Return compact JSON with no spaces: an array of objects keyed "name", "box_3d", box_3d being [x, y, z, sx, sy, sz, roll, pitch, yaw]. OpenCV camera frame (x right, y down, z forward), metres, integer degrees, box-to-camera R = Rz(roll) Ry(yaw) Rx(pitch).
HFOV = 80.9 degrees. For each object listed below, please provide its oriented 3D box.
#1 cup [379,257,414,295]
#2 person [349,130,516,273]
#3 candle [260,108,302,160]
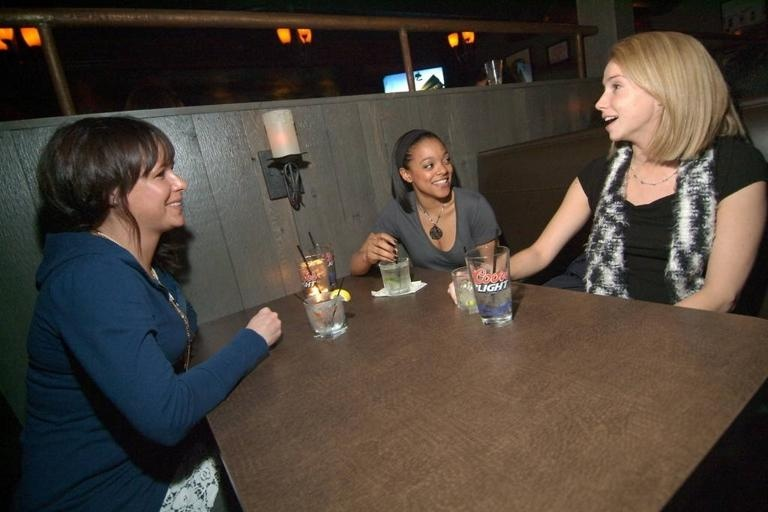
[{"name":"cup","box_3d":[0.047,0.086,1.885,0.129,0.140,0.132,-10,8,1]},{"name":"person","box_3d":[0.238,-0.186,2.525,0.996,0.906,0.565,-9,19,-2]},{"name":"candle","box_3d":[-0.555,-0.639,2.445,0.163,0.255,0.163,-11,5,-5]}]
